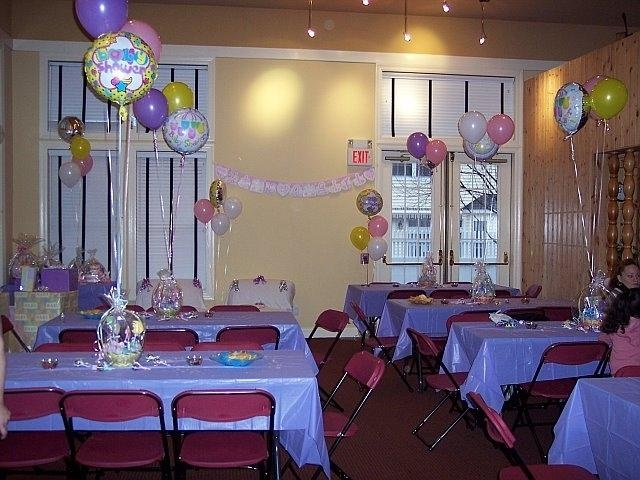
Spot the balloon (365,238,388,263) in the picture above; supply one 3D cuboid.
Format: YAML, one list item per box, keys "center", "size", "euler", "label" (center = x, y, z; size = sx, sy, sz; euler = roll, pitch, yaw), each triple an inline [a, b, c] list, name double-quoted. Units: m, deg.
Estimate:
- center: [0.810, 0.155, 8.026]
  size: [0.248, 0.384, 0.280]
  euler: [2, 4, -2]
  label: "balloon"

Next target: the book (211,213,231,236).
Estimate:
- center: [-1.468, -0.224, 8.184]
  size: [0.255, 0.308, 0.191]
  euler: [-2, 4, -18]
  label: "book"

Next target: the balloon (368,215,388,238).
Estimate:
- center: [0.834, -0.206, 8.021]
  size: [0.250, 0.446, 0.270]
  euler: [4, 7, 30]
  label: "balloon"

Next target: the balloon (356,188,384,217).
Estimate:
- center: [0.735, -0.549, 8.160]
  size: [0.320, 0.402, 0.196]
  euler: [8, 8, 19]
  label: "balloon"

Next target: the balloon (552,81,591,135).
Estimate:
- center: [2.768, -1.467, 6.269]
  size: [0.258, 0.575, 0.402]
  euler: [0, 24, -14]
  label: "balloon"

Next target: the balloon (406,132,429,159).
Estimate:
- center: [1.392, -1.339, 8.046]
  size: [0.281, 0.456, 0.335]
  euler: [-1, 3, 4]
  label: "balloon"

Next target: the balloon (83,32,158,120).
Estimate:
- center: [-1.644, -1.372, 4.610]
  size: [0.511, 0.862, 0.547]
  euler: [3, 24, -4]
  label: "balloon"

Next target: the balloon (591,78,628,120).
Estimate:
- center: [3.173, -1.556, 6.276]
  size: [0.361, 0.555, 0.406]
  euler: [2, 0, 11]
  label: "balloon"

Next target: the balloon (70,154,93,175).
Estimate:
- center: [-3.269, -1.030, 7.743]
  size: [0.262, 0.308, 0.190]
  euler: [6, 8, -29]
  label: "balloon"

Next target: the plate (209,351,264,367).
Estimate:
- center: [-0.595, 0.854, 4.007]
  size: [0.361, 0.066, 0.230]
  euler: [-2, 5, -20]
  label: "plate"

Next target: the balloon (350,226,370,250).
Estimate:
- center: [0.557, 0.005, 8.141]
  size: [0.272, 0.507, 0.285]
  euler: [-5, -3, 1]
  label: "balloon"

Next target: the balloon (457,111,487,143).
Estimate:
- center: [2.000, -1.412, 7.285]
  size: [0.333, 0.500, 0.356]
  euler: [1, 2, 31]
  label: "balloon"

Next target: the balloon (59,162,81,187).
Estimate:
- center: [-3.387, -0.883, 7.663]
  size: [0.253, 0.411, 0.301]
  euler: [4, 0, -1]
  label: "balloon"

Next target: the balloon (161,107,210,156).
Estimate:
- center: [-1.454, -1.168, 6.090]
  size: [0.421, 0.616, 0.464]
  euler: [3, 1, -13]
  label: "balloon"

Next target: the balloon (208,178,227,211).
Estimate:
- center: [-1.478, -0.664, 8.115]
  size: [0.176, 0.382, 0.283]
  euler: [3, 4, 5]
  label: "balloon"

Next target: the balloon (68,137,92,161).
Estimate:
- center: [-3.283, -1.222, 7.574]
  size: [0.267, 0.395, 0.277]
  euler: [5, 9, 38]
  label: "balloon"

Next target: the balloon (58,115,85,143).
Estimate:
- center: [-3.420, -1.520, 7.684]
  size: [0.265, 0.352, 0.302]
  euler: [0, 4, 9]
  label: "balloon"

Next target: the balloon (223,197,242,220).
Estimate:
- center: [-1.288, -0.463, 8.153]
  size: [0.239, 0.360, 0.257]
  euler: [-5, 9, -25]
  label: "balloon"

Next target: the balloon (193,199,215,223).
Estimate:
- center: [-1.643, -0.401, 7.876]
  size: [0.257, 0.416, 0.290]
  euler: [0, 0, -6]
  label: "balloon"
